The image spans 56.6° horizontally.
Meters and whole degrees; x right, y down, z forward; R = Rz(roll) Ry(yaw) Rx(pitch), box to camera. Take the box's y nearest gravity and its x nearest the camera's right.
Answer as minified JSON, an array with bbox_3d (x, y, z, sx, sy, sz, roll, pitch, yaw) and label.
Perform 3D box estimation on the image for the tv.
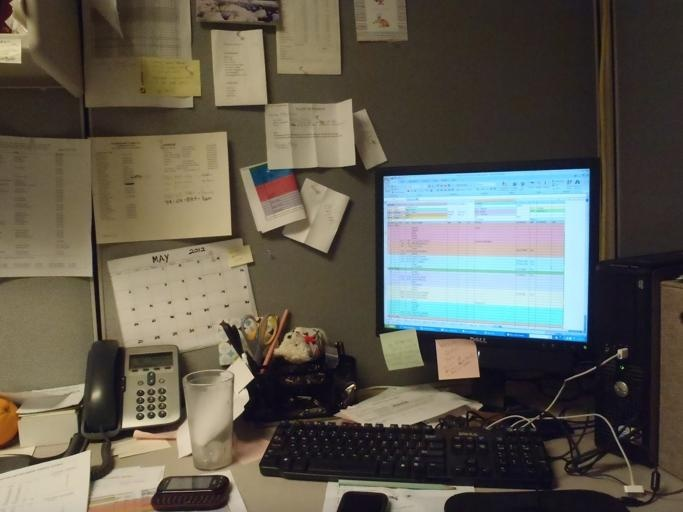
[{"bbox_3d":[0.328,0.085,1.412,0.603,0.660,0.215,0,1,18],"label":"tv"}]

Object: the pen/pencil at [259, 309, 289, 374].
[{"bbox_3d":[-0.141,0.190,1.536,0.025,0.030,0.216,18,45,9],"label":"pen/pencil"}]

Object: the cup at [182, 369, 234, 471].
[{"bbox_3d":[-0.258,0.337,1.275,0.096,0.171,0.052,-8,7,-12],"label":"cup"}]

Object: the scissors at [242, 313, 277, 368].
[{"bbox_3d":[-0.201,0.201,1.509,0.066,0.122,0.025,-1,-2,30],"label":"scissors"}]

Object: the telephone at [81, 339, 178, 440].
[{"bbox_3d":[-0.468,0.286,1.408,0.211,0.185,0.134,-8,7,-12],"label":"telephone"}]
